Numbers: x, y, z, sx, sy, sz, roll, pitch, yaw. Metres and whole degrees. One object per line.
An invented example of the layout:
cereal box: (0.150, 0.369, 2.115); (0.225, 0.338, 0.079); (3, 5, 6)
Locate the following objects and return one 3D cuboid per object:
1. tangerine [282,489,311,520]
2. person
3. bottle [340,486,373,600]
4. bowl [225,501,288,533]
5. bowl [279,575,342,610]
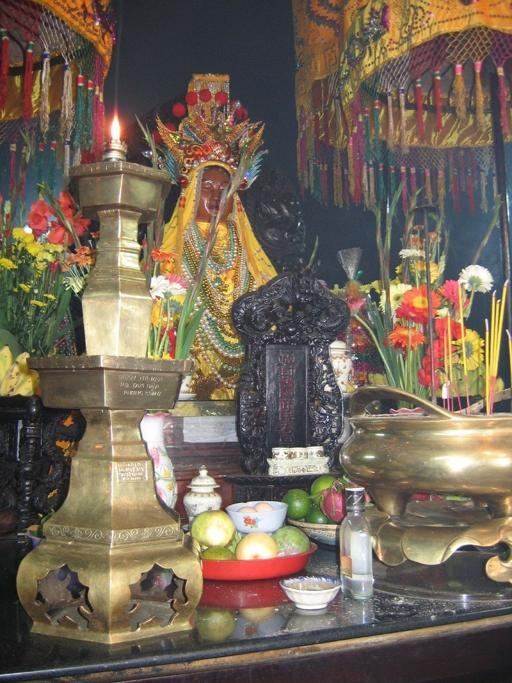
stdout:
tangerine: (0.083, 0.328, 1.358); (0.064, 0.064, 0.058); (-6, -12, -19)
person: (-0.181, -0.400, 2.702); (0.575, 1.201, 0.306); (-6, 14, -25)
bottle: (0.152, 0.283, 0.944); (0.049, 0.154, 0.074); (-9, -23, 19)
bowl: (0.003, 0.305, 1.229); (0.115, 0.043, 0.122); (1, 0, 0)
bowl: (0.070, 0.324, 0.873); (0.083, 0.037, 0.071); (2, -2, -22)
